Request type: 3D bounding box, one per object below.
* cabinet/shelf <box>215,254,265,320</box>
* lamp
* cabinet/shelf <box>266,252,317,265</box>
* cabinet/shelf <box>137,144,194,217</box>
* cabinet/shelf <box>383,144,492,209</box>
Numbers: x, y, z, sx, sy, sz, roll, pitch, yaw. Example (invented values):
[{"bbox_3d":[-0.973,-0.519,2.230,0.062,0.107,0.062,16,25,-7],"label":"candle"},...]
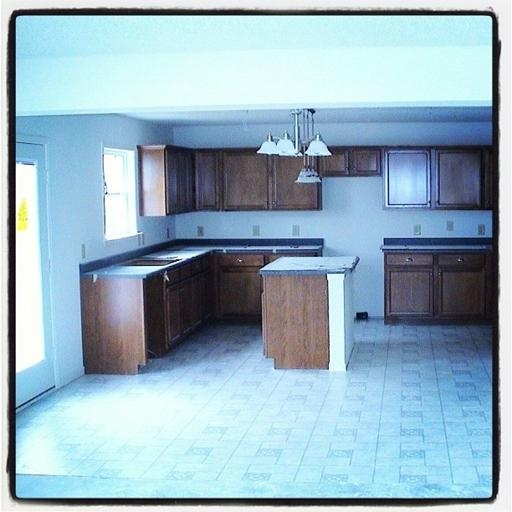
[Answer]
[{"bbox_3d":[-0.161,0.389,7.126,0.692,1.238,0.743,0,0,9],"label":"cabinet/shelf"},{"bbox_3d":[0.476,-1.150,5.382,0.693,0.759,0.610,-3,11,19],"label":"lamp"},{"bbox_3d":[0.450,0.014,6.685,0.679,0.144,0.130,-2,4,-2],"label":"cabinet/shelf"},{"bbox_3d":[-1.043,-0.951,6.561,0.362,0.868,0.898,1,5,30],"label":"cabinet/shelf"},{"bbox_3d":[2.335,-1.021,6.612,0.938,0.665,0.337,0,2,7],"label":"cabinet/shelf"}]
